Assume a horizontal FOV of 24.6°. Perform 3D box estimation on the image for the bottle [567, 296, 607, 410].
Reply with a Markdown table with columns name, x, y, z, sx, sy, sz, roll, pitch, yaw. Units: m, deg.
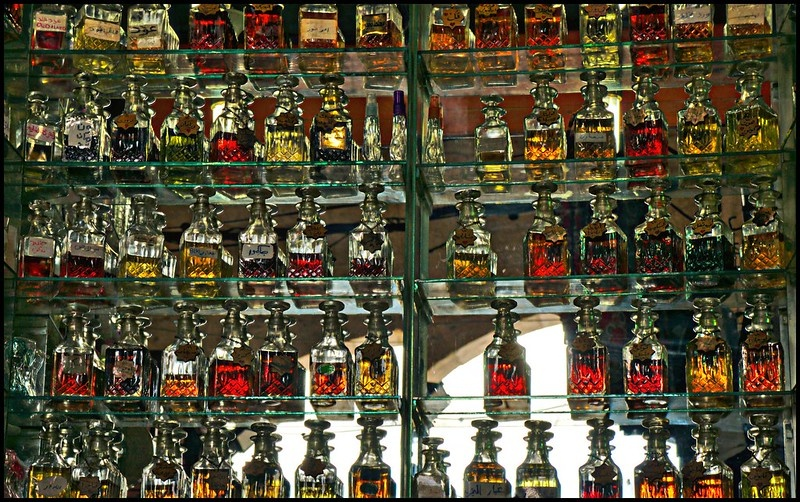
| name | x | y | z | sx | sy | sz | roll | pitch | yaw |
| --- | --- | --- | --- | --- | --- | --- | --- | --- | --- |
| bottle | 0.818 | 0.452 | 7.963 | 0.182 | 0.520 | 0.172 | -2 | -18 | -1 |

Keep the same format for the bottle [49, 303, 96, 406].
| name | x | y | z | sx | sy | sz | roll | pitch | yaw |
| --- | --- | --- | --- | --- | --- | --- | --- | --- | --- |
| bottle | -1.419 | 0.438 | 7.977 | 0.185 | 0.442 | 0.117 | -1 | -18 | -3 |

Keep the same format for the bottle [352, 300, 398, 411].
| name | x | y | z | sx | sy | sz | roll | pitch | yaw |
| --- | --- | --- | --- | --- | --- | --- | --- | --- | --- |
| bottle | -0.102 | 0.446 | 7.903 | 0.189 | 0.477 | 0.115 | -2 | -19 | -1 |

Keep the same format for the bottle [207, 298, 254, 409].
| name | x | y | z | sx | sy | sz | roll | pitch | yaw |
| --- | --- | --- | --- | --- | --- | --- | --- | --- | --- |
| bottle | -0.731 | 0.456 | 7.973 | 0.206 | 0.480 | 0.196 | -2 | -18 | -1 |

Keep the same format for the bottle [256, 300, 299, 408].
| name | x | y | z | sx | sy | sz | roll | pitch | yaw |
| --- | --- | --- | --- | --- | --- | --- | --- | --- | --- |
| bottle | -0.520 | 0.449 | 7.955 | 0.192 | 0.481 | 0.153 | 0 | -18 | -7 |

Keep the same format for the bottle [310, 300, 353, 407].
| name | x | y | z | sx | sy | sz | roll | pitch | yaw |
| --- | --- | --- | --- | --- | --- | --- | --- | --- | --- |
| bottle | -0.296 | 0.439 | 7.926 | 0.181 | 0.465 | 0.120 | 0 | -19 | -8 |

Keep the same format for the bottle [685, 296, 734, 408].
| name | x | y | z | sx | sy | sz | roll | pitch | yaw |
| --- | --- | --- | --- | --- | --- | --- | --- | --- | --- |
| bottle | 1.331 | 0.434 | 7.899 | 0.201 | 0.484 | 0.169 | -4 | -18 | 6 |

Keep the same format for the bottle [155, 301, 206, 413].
| name | x | y | z | sx | sy | sz | roll | pitch | yaw |
| --- | --- | --- | --- | --- | --- | --- | --- | --- | --- |
| bottle | -0.945 | 0.457 | 7.981 | 0.199 | 0.488 | 0.191 | -2 | -18 | -1 |

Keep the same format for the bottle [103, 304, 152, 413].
| name | x | y | z | sx | sy | sz | roll | pitch | yaw |
| --- | --- | --- | --- | --- | --- | --- | --- | --- | --- |
| bottle | -1.178 | 0.457 | 7.961 | 0.200 | 0.458 | 0.171 | 0 | -18 | -8 |
